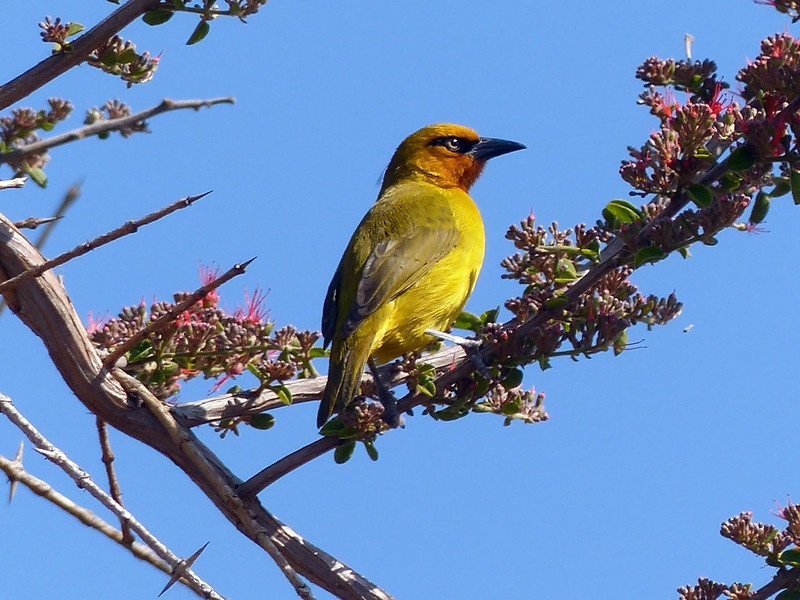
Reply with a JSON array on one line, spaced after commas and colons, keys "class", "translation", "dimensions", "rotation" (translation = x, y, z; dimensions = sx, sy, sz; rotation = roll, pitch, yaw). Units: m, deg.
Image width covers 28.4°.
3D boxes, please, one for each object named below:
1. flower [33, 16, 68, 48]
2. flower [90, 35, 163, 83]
[{"class": "flower", "translation": [-1.644, -1.268, 7.497], "dimensions": [0.110, 0.119, 0.150], "rotation": [-28, -72, 28]}, {"class": "flower", "translation": [-1.351, -1.168, 7.709], "dimensions": [0.276, 0.292, 0.114], "rotation": [39, -59, 45]}]
